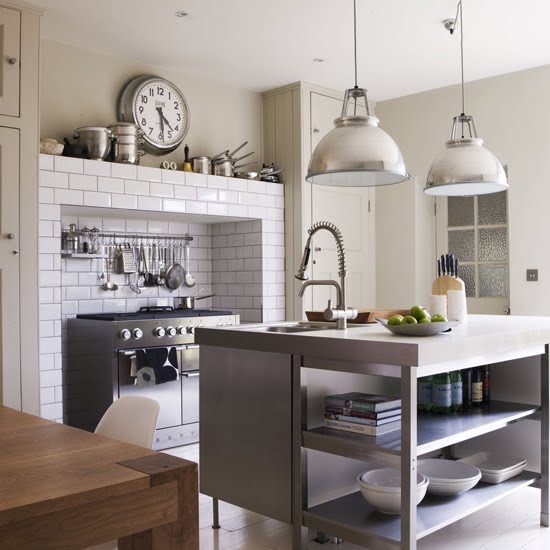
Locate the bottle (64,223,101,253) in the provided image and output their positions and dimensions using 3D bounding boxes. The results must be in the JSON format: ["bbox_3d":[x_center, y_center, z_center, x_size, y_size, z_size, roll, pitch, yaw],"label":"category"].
[{"bbox_3d":[-1.537,-0.284,4.541,0.103,0.237,0.333,1,3,32],"label":"bottle"}]

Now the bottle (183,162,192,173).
[{"bbox_3d":[-0.734,-0.898,4.786,0.082,0.089,0.086,-1,2,38],"label":"bottle"}]

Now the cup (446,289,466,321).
[{"bbox_3d":[0.892,0.154,2.826,0.092,0.152,0.244,0,2,17],"label":"cup"}]

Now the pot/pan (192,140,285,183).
[{"bbox_3d":[-0.368,-0.962,5.017,0.661,0.252,0.392,2,-5,6],"label":"pot/pan"}]

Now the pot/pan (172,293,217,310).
[{"bbox_3d":[-0.718,0.239,5.163,0.325,0.131,0.129,0,-1,29],"label":"pot/pan"}]

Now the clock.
[{"bbox_3d":[-1.016,-1.299,4.627,0.193,0.732,0.709,-7,3,42],"label":"clock"}]

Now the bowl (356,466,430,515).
[{"bbox_3d":[0.489,0.910,2.392,0.293,0.117,0.300,-1,-7,0],"label":"bowl"}]

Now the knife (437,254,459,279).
[{"bbox_3d":[1.217,-0.063,4.028,0.018,0.234,0.211,-3,5,-34],"label":"knife"}]

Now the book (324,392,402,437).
[{"bbox_3d":[0.419,0.591,2.456,0.198,0.120,0.238,4,-6,-42],"label":"book"}]

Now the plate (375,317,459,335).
[{"bbox_3d":[0.590,0.226,2.403,0.311,0.074,0.205,0,2,14],"label":"plate"}]

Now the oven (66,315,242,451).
[{"bbox_3d":[-0.931,0.844,4.562,0.619,1.035,1.179,-11,-8,35],"label":"oven"}]

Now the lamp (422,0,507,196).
[{"bbox_3d":[1.227,-1.124,3.699,0.420,1.297,1.885,0,2,19],"label":"lamp"}]

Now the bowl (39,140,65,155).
[{"bbox_3d":[-1.528,-0.865,3.888,0.153,0.081,0.207,-1,-6,-11],"label":"bowl"}]

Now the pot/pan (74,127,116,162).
[{"bbox_3d":[-1.321,-0.957,4.222,0.263,0.208,0.238,3,7,37],"label":"pot/pan"}]

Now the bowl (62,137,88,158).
[{"bbox_3d":[-1.499,-0.928,4.176,0.115,0.140,0.320,-7,5,-37],"label":"bowl"}]
